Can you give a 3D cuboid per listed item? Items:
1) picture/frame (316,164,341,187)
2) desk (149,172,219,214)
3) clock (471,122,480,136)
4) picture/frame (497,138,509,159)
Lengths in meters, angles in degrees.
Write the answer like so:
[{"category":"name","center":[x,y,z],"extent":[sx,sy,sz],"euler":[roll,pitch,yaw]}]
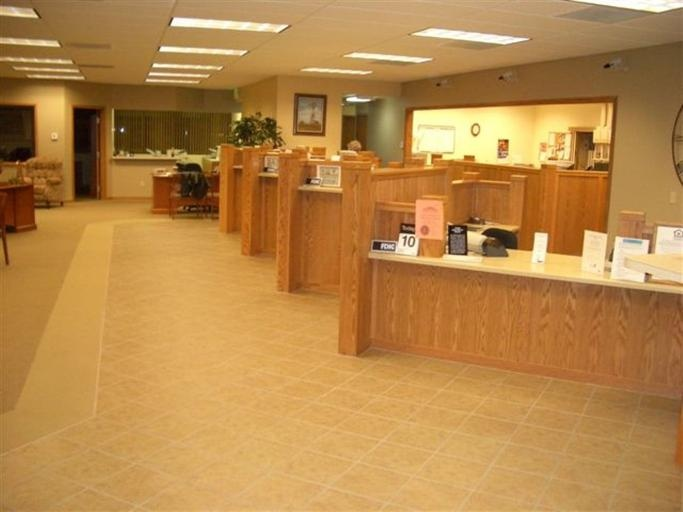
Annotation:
[{"category":"picture/frame","center":[-0.137,-1.012,6.367],"extent":[0.305,0.250,0.043],"euler":[8,14,32]},{"category":"desk","center":[-4.020,-1.365,12.567],"extent":[1.922,0.875,1.001],"euler":[-1,12,-9]},{"category":"clock","center":[3.958,-3.704,14.828],"extent":[0.074,0.333,0.345],"euler":[2,7,-14]},{"category":"picture/frame","center":[4.659,-3.072,14.499],"extent":[0.331,0.548,0.196],"euler":[4,13,13]}]
